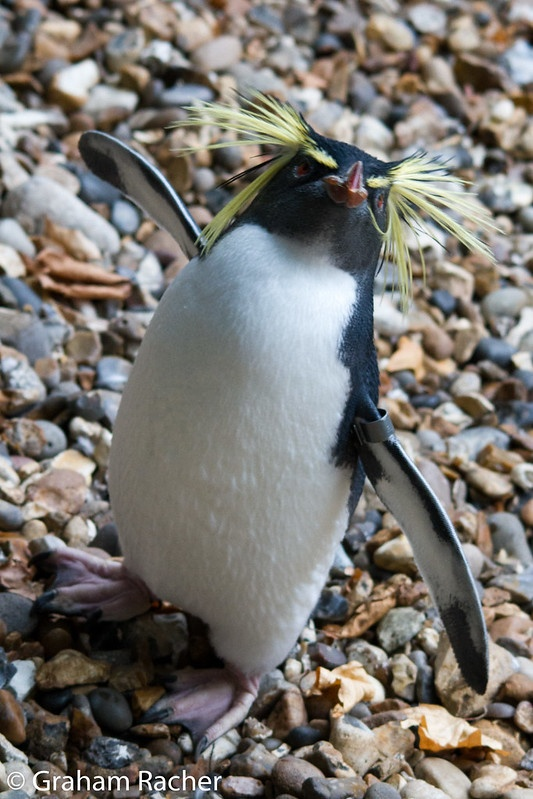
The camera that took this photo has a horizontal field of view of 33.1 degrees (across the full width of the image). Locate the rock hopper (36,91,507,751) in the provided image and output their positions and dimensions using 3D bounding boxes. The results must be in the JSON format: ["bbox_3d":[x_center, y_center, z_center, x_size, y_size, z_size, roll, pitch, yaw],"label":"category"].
[{"bbox_3d":[0.056,0.083,1.402,0.690,0.950,0.479,23,31,12],"label":"rock hopper"}]
